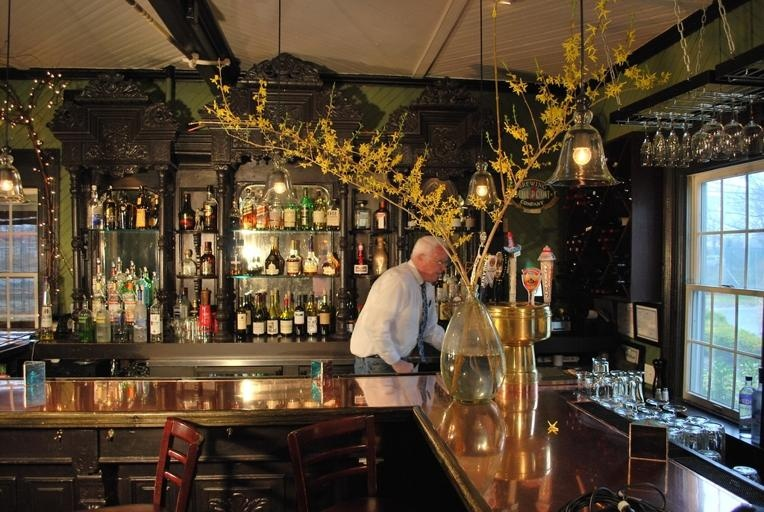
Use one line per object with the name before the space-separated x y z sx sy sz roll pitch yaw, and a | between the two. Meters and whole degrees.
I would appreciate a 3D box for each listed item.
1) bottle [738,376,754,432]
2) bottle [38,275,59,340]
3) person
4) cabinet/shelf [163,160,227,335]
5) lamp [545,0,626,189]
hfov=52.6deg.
bottle | 2.807 1.138 5.989 0.111 0.465 0.245 -2 -1 24
bottle | -3.082 0.474 7.172 0.151 0.415 0.472 -2 -1 -23
person | 0.138 0.384 6.023 0.773 0.945 0.628 -2 -1 -2
cabinet/shelf | -1.669 -0.015 7.205 0.630 1.271 0.535 -2 -1 -11
lamp | 1.326 -1.158 5.228 0.417 1.217 1.386 -2 -1 16
